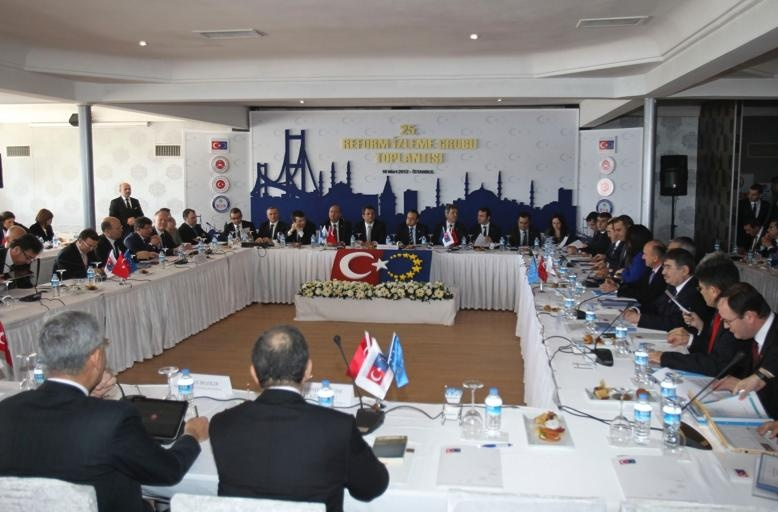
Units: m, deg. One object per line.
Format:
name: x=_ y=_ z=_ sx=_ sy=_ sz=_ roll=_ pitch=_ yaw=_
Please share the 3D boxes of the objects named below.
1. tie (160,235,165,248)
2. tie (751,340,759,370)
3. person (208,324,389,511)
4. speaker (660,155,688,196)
tie: x=-3.637 y=-0.241 z=8.972 sx=0.032 sy=0.163 sz=0.124 roll=-3 pitch=1 yaw=5
tie: x=2.599 y=0.693 z=3.959 sx=0.039 sy=0.168 sz=0.137 roll=6 pitch=13 yaw=26
person: x=-0.532 y=0.959 z=3.291 sx=0.708 sy=1.375 sz=0.698 roll=3 pitch=42 yaw=-2
speaker: x=5.748 y=-1.634 z=11.321 sx=0.527 sy=0.803 sz=0.449 roll=7 pitch=14 yaw=31
